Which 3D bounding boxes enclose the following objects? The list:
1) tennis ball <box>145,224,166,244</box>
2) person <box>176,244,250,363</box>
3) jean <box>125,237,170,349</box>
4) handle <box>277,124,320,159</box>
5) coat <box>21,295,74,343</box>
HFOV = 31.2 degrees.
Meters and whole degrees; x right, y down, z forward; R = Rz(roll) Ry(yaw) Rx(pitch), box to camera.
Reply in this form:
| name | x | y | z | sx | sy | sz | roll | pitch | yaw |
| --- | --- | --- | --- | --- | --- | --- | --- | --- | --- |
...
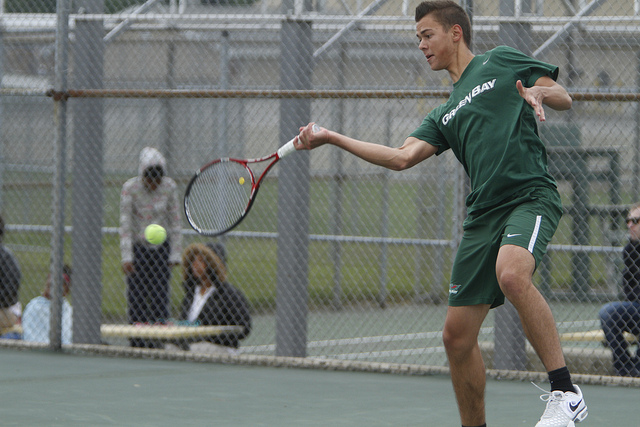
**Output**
| name | x | y | z | sx | sy | sz | roll | pitch | yaw |
| --- | --- | --- | --- | --- | --- | --- | --- | --- | --- |
| tennis ball | -1.614 | 0.222 | 11.369 | 0.167 | 0.186 | 0.162 | 7 | -19 | 2 |
| person | -1.099 | 0.847 | 11.269 | 0.701 | 1.264 | 0.583 | 3 | 10 | 12 |
| jean | -1.701 | 0.654 | 11.381 | 0.438 | 0.860 | 0.295 | 0 | -6 | -12 |
| handle | -0.173 | -0.596 | 9.376 | 0.151 | 0.236 | 0.430 | 4 | -8 | -41 |
| coat | -2.715 | 1.044 | 11.300 | 0.358 | 0.580 | 0.203 | -1 | 4 | 21 |
